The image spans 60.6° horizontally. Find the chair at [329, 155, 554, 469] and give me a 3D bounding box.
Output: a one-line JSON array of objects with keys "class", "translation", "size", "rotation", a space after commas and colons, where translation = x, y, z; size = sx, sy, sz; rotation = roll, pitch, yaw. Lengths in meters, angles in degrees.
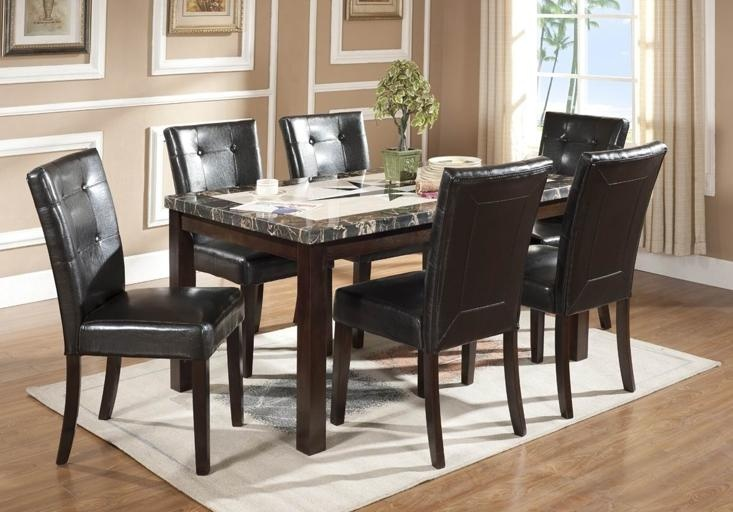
[{"class": "chair", "translation": [0.292, 0.189, 2.636], "size": [0.759, 1.185, 0.581], "rotation": [-12, 19, -32]}]

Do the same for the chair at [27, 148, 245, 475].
[{"class": "chair", "translation": [-0.876, 0.200, 2.503], "size": [0.655, 1.200, 0.517], "rotation": [1, 17, 7]}]

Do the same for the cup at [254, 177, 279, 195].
[{"class": "cup", "translation": [-0.472, -0.322, 2.951], "size": [0.101, 0.069, 0.096], "rotation": [-1, 3, 0]}]
